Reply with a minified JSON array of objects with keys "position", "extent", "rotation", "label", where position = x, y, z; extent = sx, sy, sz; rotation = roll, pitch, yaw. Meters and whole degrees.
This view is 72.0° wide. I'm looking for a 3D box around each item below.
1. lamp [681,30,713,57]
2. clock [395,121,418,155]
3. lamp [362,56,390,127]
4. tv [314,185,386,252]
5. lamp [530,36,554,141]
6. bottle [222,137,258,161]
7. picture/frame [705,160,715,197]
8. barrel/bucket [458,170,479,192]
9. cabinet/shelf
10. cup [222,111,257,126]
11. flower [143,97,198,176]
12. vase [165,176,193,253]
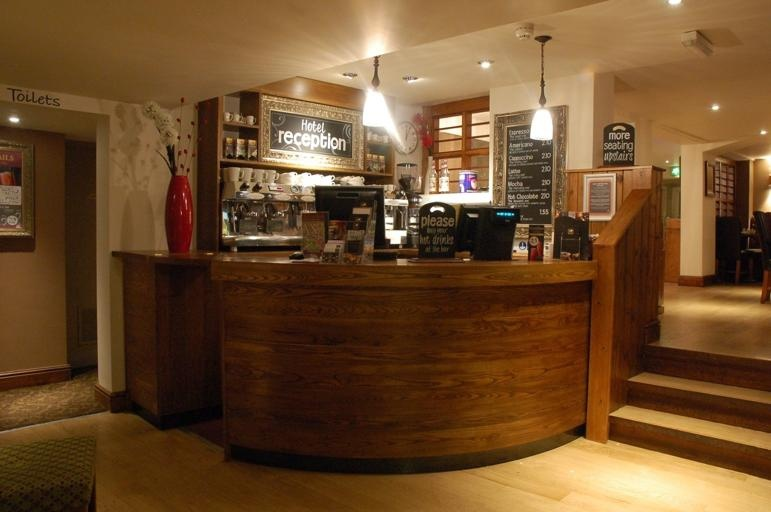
[{"position":[3.388,-2.305,5.762],"extent":[0.540,0.198,0.164],"rotation":[-9,13,-41],"label":"lamp"},{"position":[0.325,-1.883,8.467],"extent":[0.066,0.515,0.560],"rotation":[-12,22,-36],"label":"clock"},{"position":[-0.100,-1.774,5.607],"extent":[0.294,0.598,0.273],"rotation":[-2,28,-4],"label":"lamp"},{"position":[-0.300,-0.304,4.422],"extent":[0.586,0.539,0.346],"rotation":[-1,10,-3],"label":"tv"},{"position":[1.929,-1.953,6.422],"extent":[0.270,1.061,1.414],"rotation":[2,10,15],"label":"lamp"},{"position":[-1.750,-1.295,6.411],"extent":[0.145,0.254,0.448],"rotation":[5,11,32],"label":"bottle"},{"position":[6.436,-1.539,10.524],"extent":[0.072,0.865,0.823],"rotation":[-2,-3,42],"label":"picture/frame"},{"position":[1.236,-1.093,7.783],"extent":[0.269,0.312,0.209],"rotation":[-2,10,-12],"label":"barrel/bucket"},{"position":[-1.014,-1.105,7.242],"extent":[0.880,1.963,3.190],"rotation":[0,4,41],"label":"cabinet/shelf"},{"position":[-1.778,-1.652,6.429],"extent":[0.298,0.097,0.190],"rotation":[8,4,6],"label":"cup"},{"position":[-2.274,-1.239,5.639],"extent":[0.444,0.773,1.214],"rotation":[-4,10,-18],"label":"flower"},{"position":[-2.019,-0.408,5.166],"extent":[0.253,0.746,0.276],"rotation":[-5,10,-23],"label":"vase"}]
